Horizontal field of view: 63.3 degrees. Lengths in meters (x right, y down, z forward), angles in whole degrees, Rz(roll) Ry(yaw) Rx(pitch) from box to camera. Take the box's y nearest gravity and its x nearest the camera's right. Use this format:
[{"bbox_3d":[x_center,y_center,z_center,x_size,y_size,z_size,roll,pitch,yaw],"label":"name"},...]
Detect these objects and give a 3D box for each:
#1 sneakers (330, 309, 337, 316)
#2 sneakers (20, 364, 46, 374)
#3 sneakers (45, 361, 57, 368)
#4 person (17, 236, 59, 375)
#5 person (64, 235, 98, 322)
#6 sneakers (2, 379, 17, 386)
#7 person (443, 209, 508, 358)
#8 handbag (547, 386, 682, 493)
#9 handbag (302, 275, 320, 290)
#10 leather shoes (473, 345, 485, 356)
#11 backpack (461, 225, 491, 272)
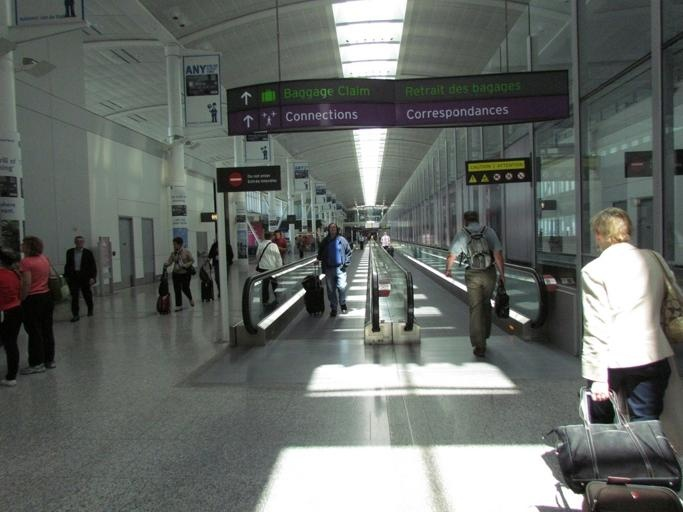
[{"bbox_3d":[-0.147,1.162,11.120,0.121,0.142,0.080,2,-5,16],"label":"sneakers"},{"bbox_3d":[-4.248,1.566,7.697,0.306,0.158,0.119,3,-1,-17],"label":"sneakers"},{"bbox_3d":[-4.126,1.547,7.895,0.129,0.058,0.052,-4,6,-27],"label":"sneakers"},{"bbox_3d":[-4.196,0.683,7.608,0.386,1.869,0.754,-3,5,-21],"label":"person"},{"bbox_3d":[-5.554,0.467,11.860,0.571,1.756,1.040,-4,6,-28],"label":"person"},{"bbox_3d":[-4.273,1.633,7.204,0.191,0.094,0.078,3,18,-2],"label":"sneakers"},{"bbox_3d":[1.911,0.379,7.855,0.790,2.017,0.494,-1,5,3],"label":"person"},{"bbox_3d":[2.121,1.430,4.242,0.849,0.921,0.379,-2,2,9],"label":"handbag"},{"bbox_3d":[-0.634,0.515,11.131,0.253,0.281,0.346,8,31,37],"label":"handbag"},{"bbox_3d":[1.923,1.339,7.748,0.132,0.145,0.138,2,10,12],"label":"leather shoes"},{"bbox_3d":[1.908,-0.115,7.742,0.395,0.589,0.218,0,5,11],"label":"backpack"}]
